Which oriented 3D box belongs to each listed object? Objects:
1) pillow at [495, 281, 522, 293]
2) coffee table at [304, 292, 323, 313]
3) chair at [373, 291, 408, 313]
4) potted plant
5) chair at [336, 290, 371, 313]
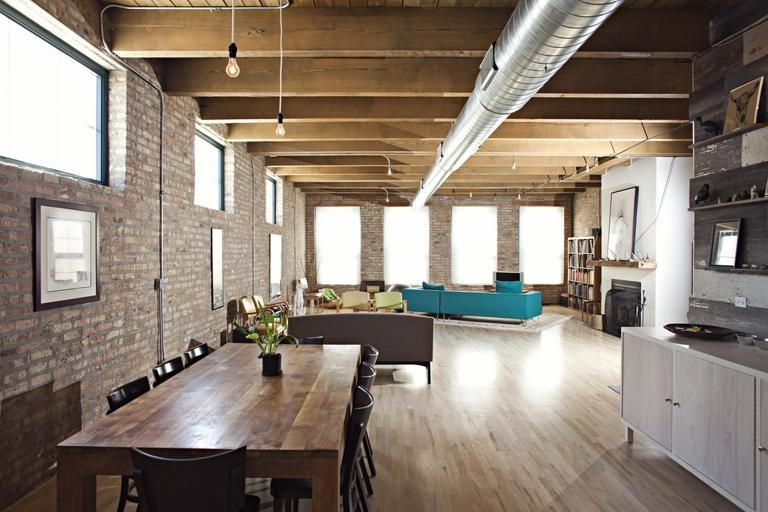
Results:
[{"bbox_3d":[2.810,0.693,11.630,0.625,0.270,0.332,3,8,22],"label":"pillow"},{"bbox_3d":[-1.955,1.219,14.144,0.493,0.560,1.532,-1,7,-8],"label":"coffee table"},{"bbox_3d":[0.097,1.216,12.460,0.665,0.511,0.515,0,-10,-4],"label":"chair"},{"bbox_3d":[-1.404,0.959,5.915,0.843,0.823,0.783,-1,0,-7],"label":"potted plant"},{"bbox_3d":[-0.731,1.135,12.602,0.569,0.654,0.554,0,-5,-6],"label":"chair"}]
